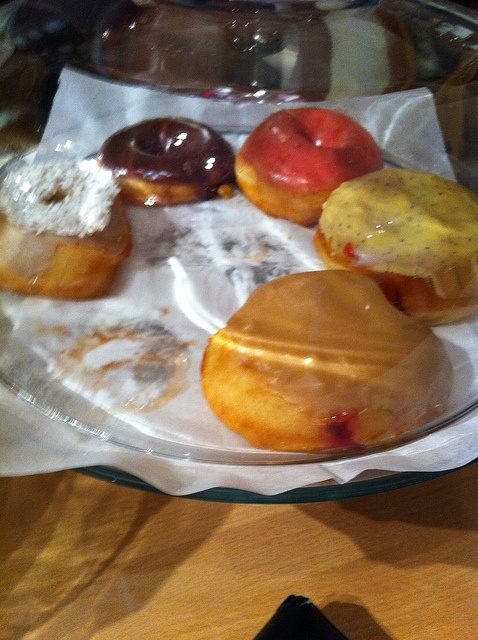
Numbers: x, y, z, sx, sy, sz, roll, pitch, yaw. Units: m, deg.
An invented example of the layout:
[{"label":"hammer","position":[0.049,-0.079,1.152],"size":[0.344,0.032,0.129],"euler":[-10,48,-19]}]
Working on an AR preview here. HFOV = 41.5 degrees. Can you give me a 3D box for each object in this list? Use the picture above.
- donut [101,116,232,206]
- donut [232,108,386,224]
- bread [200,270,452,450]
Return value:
[{"label":"donut","position":[-0.024,-0.054,0.211],"size":[0.037,0.011,0.035],"euler":[-33,58,-30]},{"label":"donut","position":[0.027,-0.052,0.217],"size":[0.055,0.024,0.037],"euler":[-2,89,-9]},{"label":"bread","position":[0.031,0.017,0.213],"size":[0.074,0.058,0.053],"euler":[26,56,16]}]
